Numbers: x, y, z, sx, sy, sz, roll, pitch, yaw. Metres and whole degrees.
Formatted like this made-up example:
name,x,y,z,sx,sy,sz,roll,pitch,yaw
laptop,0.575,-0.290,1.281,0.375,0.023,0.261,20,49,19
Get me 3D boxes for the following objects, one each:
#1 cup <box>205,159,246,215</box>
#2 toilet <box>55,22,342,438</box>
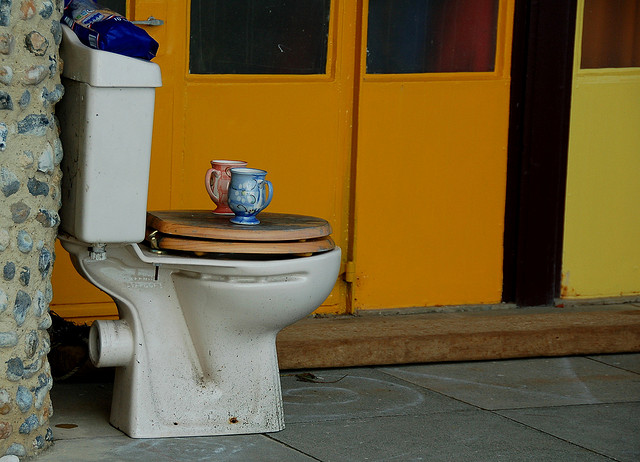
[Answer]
name,x,y,z,sx,sy,sz,roll,pitch,yaw
cup,-0.317,-0.145,2.878,0.180,0.187,0.121,10,3,6
toilet,-0.438,0.093,2.937,0.958,1.141,0.700,4,-8,-26
